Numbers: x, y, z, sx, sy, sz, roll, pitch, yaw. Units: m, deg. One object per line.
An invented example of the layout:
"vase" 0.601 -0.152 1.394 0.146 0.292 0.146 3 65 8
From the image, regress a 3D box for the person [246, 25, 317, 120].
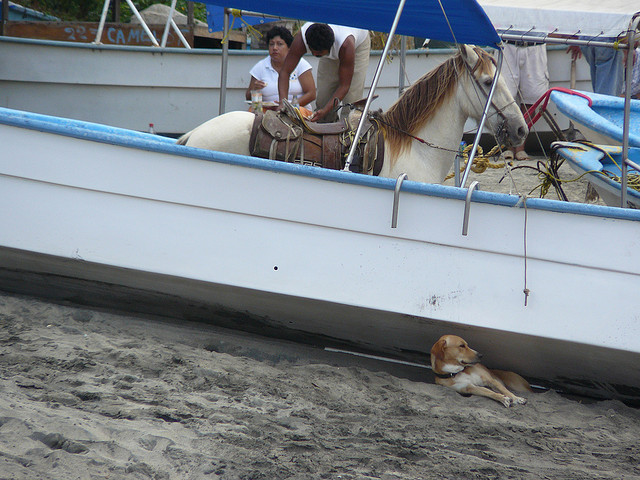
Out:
"person" -0.424 -1.614 11.130 0.717 1.092 1.018 -7 15 -8

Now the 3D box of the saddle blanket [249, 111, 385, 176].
"saddle blanket" -0.057 -0.831 9.489 0.917 0.647 0.824 -12 28 -44

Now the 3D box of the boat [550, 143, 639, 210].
"boat" 2.669 -0.625 10.380 0.972 0.286 0.526 19 43 23

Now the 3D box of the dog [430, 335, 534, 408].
"dog" 1.297 1.060 9.148 0.761 0.505 0.258 8 13 11
